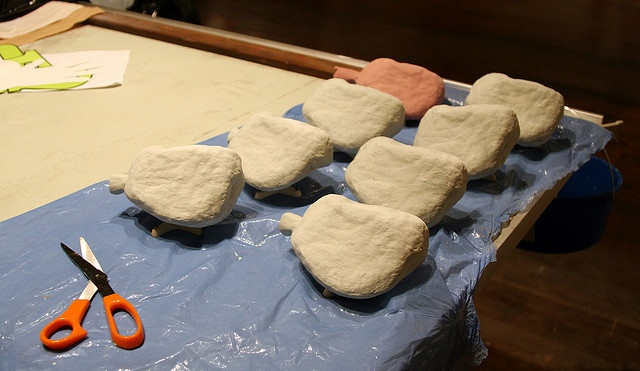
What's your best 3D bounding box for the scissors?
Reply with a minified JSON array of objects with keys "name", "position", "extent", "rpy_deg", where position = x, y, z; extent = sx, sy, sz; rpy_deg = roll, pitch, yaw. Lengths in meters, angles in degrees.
[{"name":"scissors","position":[-0.628,0.307,1.708],"extent":[0.280,0.072,0.324],"rpy_deg":[1,50,-3]}]
